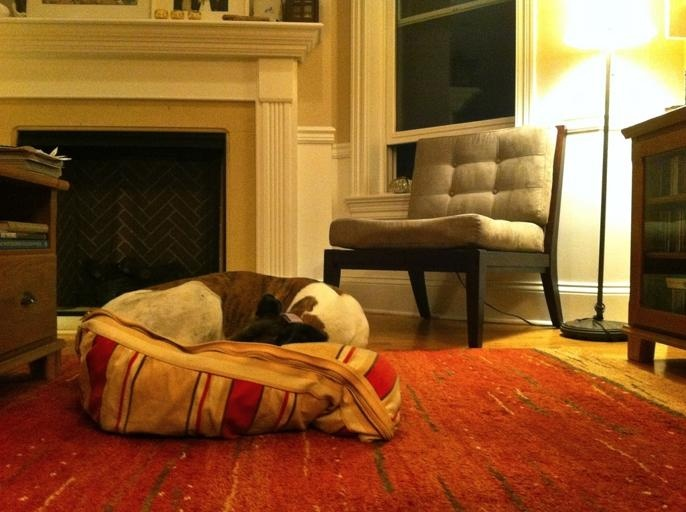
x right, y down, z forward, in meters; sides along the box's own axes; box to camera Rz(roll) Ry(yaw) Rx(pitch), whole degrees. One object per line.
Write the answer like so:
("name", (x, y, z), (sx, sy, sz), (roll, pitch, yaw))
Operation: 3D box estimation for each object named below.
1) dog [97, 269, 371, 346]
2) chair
("dog", (-0.302, 0.177, 1.730), (0.750, 0.208, 0.345), (-4, 10, -25))
("chair", (0.477, -0.142, 2.741), (0.763, 0.931, 0.872), (-6, 6, -44))
